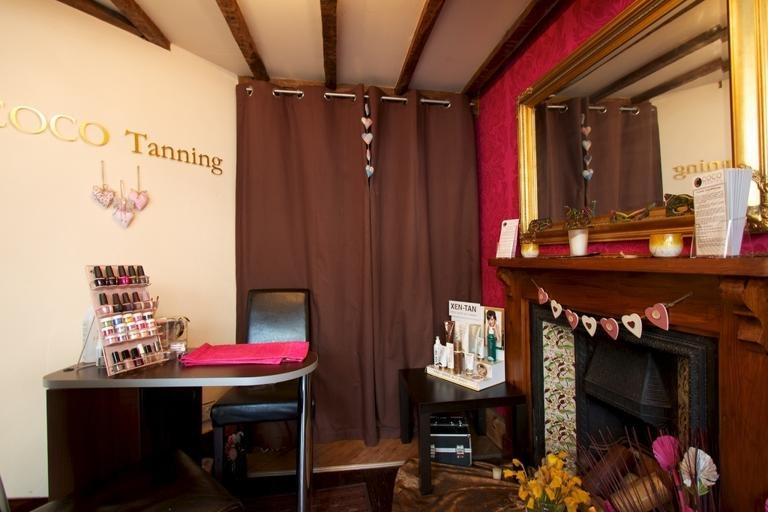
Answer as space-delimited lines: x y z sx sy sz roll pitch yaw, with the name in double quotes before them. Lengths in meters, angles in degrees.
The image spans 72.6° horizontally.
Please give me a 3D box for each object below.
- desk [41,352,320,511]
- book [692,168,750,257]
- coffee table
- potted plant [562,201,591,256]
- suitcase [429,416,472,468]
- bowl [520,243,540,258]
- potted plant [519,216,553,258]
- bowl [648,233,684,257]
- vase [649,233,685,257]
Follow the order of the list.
"desk" -0.952 0.680 2.824 1.039 1.027 1.076 0 -3 -4
"book" 1.592 -0.206 2.465 0.221 0.410 0.139 2 12 35
"coffee table" 0.506 1.109 3.511 0.682 0.550 0.709 1 -5 -11
"potted plant" 1.152 -0.124 3.088 0.127 0.320 0.116 3 -20 8
"suitcase" 0.444 1.269 3.529 0.302 0.324 0.094 3 -26 5
"bowl" 0.945 -0.028 3.354 0.092 0.073 0.091 0 -5 0
"potted plant" 0.986 -0.111 3.418 0.185 0.298 0.119 6 -11 21
"bowl" 1.418 -0.053 2.625 0.129 0.107 0.124 0 -3 0
"vase" 1.420 -0.053 2.625 0.130 0.107 0.125 1 -3 -26
